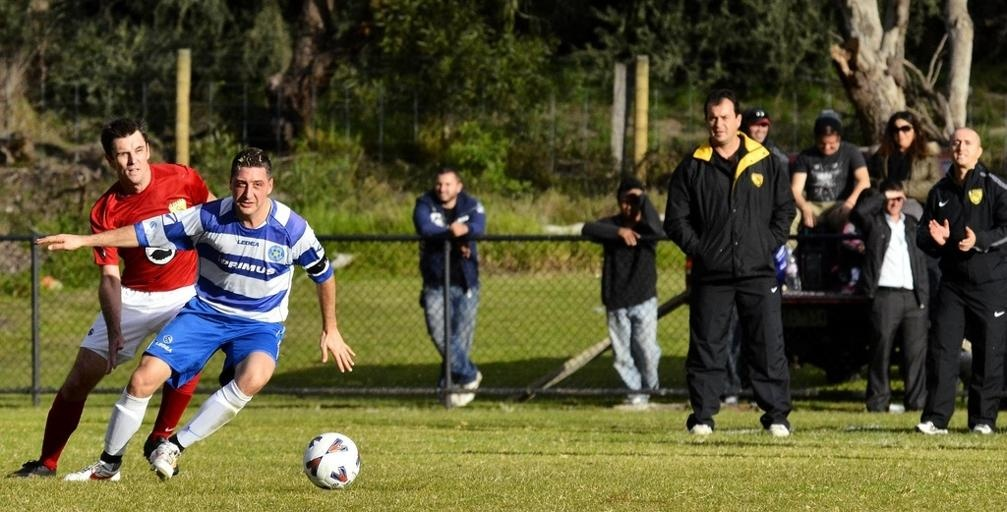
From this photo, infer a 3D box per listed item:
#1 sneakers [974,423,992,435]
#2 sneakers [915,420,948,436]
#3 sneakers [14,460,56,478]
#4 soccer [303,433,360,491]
[{"bbox_3d":[8.405,3.051,28.097,0.157,0.124,0.280,6,-9,-39],"label":"sneakers"},{"bbox_3d":[7.479,3.029,28.163,0.593,0.269,0.212,10,-6,-2],"label":"sneakers"},{"bbox_3d":[-7.816,3.567,26.716,0.576,0.225,0.276,5,-4,-9],"label":"sneakers"},{"bbox_3d":[-2.854,3.395,26.516,0.867,0.881,0.871,17,-23,9],"label":"soccer"}]
